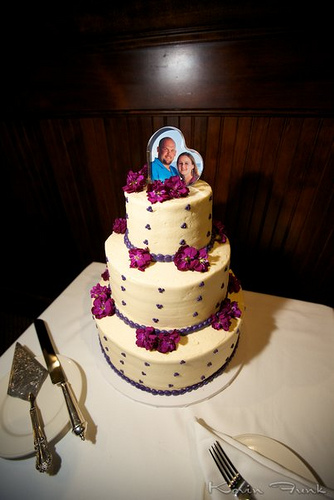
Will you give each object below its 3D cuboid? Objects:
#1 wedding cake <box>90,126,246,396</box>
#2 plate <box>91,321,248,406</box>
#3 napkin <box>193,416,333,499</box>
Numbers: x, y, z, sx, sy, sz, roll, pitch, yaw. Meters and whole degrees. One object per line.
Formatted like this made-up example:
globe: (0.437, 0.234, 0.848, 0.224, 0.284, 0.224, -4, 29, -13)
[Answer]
wedding cake: (0.022, 0.159, 2.591, 1.066, 1.736, 1.257, -2, 30, -3)
plate: (-0.004, 0.651, 2.700, 0.751, 0.401, 0.903, -1, 24, -3)
napkin: (0.457, 1.140, 1.884, 0.593, 0.305, 0.547, 0, 24, 10)
